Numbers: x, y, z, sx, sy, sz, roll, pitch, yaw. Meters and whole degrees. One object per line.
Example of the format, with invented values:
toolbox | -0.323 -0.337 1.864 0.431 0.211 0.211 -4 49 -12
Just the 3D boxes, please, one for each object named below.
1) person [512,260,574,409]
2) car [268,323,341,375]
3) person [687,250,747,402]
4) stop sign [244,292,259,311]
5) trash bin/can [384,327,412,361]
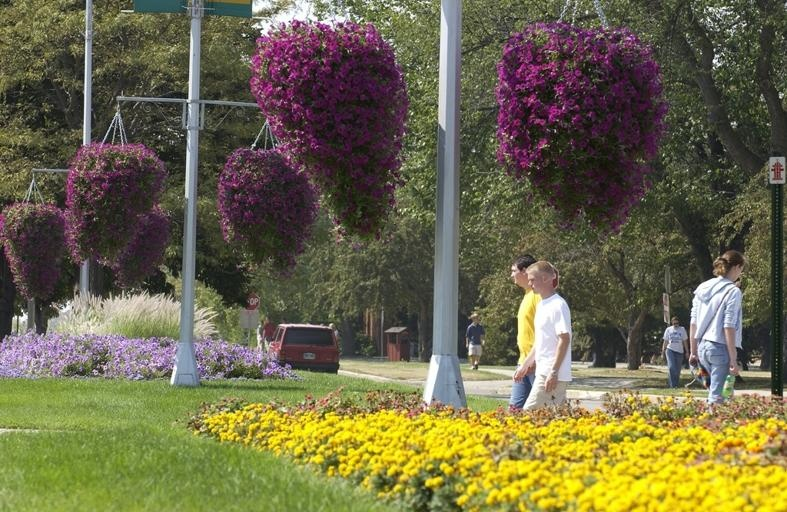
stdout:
person | 3.281 1.748 35.300 1.023 3.207 0.687 3 -4 8
car | -3.082 3.256 56.326 1.963 1.882 3.746 3 1 -13
person | 7.206 2.071 36.751 1.076 4.193 1.308 0 8 -19
stop sign | -4.957 1.658 58.458 0.597 0.896 0.130 6 -8 -36
trash bin/can | 0.319 4.251 78.565 1.169 1.621 1.353 1 -3 -21
